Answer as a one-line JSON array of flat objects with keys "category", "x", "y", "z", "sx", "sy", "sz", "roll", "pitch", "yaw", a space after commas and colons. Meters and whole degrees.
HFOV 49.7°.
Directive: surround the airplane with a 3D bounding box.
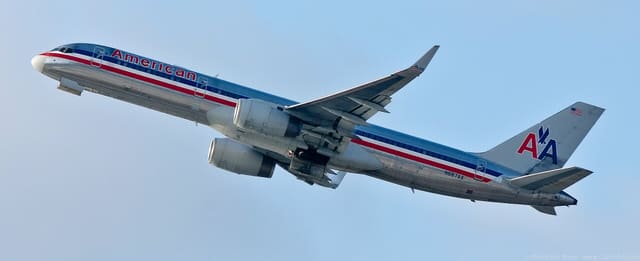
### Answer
[{"category": "airplane", "x": -0.427, "y": 0.337, "z": 65.230, "sx": 32.938, "sy": 26.183, "sz": 6.817, "roll": 11, "pitch": 73, "yaw": 2}]
